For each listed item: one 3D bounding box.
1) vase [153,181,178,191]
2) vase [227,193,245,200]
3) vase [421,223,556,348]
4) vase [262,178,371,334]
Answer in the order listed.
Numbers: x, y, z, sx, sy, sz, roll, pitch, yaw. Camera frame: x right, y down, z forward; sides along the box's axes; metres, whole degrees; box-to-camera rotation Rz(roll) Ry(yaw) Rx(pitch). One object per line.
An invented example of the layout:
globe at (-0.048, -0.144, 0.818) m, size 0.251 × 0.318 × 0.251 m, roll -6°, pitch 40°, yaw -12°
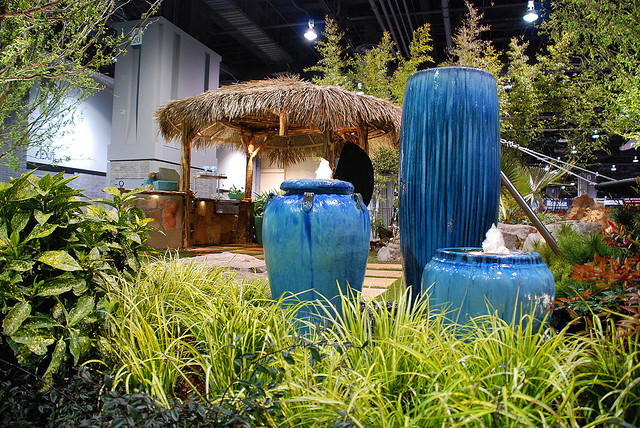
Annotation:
vase at (-2.109, -0.386, 6.006) m, size 0.308 × 0.129 × 0.179 m, roll 0°, pitch 1°, yaw -19°
vase at (-1.433, -0.307, 7.569) m, size 0.255 × 0.108 × 0.214 m, roll 0°, pitch 1°, yaw -17°
vase at (0.942, 0.408, 2.395) m, size 0.666 × 0.643 × 0.679 m, roll 1°, pitch -2°, yaw -14°
vase at (-0.030, 0.250, 2.808) m, size 0.616 × 0.912 × 0.611 m, roll -5°, pitch 8°, yaw -41°
